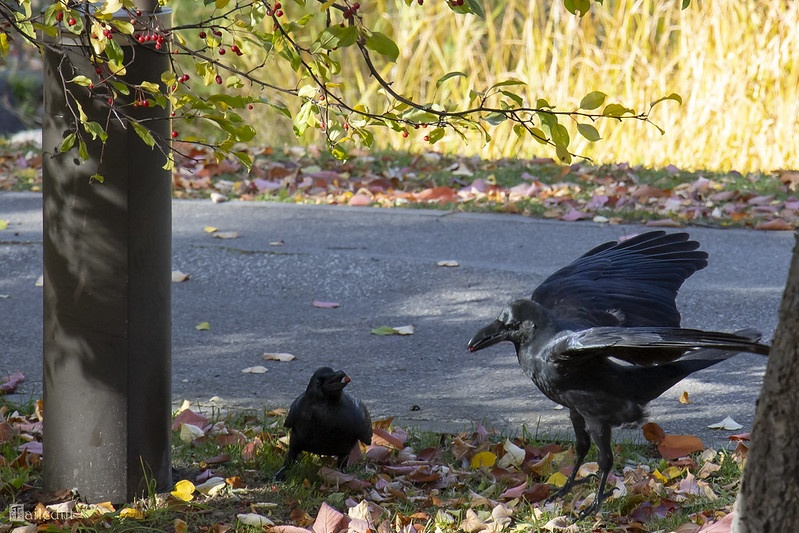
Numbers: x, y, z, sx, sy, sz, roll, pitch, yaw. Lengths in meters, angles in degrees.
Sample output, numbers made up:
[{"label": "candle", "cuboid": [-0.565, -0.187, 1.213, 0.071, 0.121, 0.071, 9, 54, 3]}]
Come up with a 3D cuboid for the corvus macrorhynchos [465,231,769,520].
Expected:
[{"label": "corvus macrorhynchos", "cuboid": [1.220, 0.631, 7.267, 1.778, 0.948, 2.055, -1, 25, -10]}]

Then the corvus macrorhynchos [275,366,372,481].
[{"label": "corvus macrorhynchos", "cuboid": [-0.401, 0.864, 7.500, 0.484, 0.623, 0.164, 4, 8, 6]}]
